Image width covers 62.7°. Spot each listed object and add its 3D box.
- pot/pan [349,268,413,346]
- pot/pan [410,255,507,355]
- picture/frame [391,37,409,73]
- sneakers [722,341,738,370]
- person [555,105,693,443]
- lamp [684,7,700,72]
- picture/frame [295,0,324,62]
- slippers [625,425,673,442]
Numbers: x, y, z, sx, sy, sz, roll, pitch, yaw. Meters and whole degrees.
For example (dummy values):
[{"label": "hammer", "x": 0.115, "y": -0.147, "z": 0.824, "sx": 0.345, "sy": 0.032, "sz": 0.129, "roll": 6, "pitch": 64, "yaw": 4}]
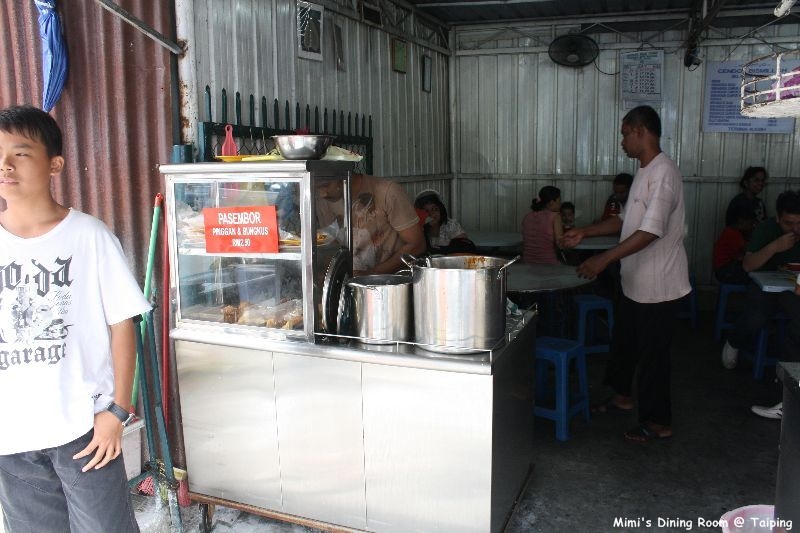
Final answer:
[{"label": "pot/pan", "x": -0.078, "y": 0.198, "z": 3.718, "sx": 0.305, "sy": 0.352, "sz": 0.506, "roll": 1, "pitch": 6, "yaw": 25}, {"label": "pot/pan", "x": 0.311, "y": 0.198, "z": 3.459, "sx": 0.506, "sy": 0.382, "sz": 0.502, "roll": 0, "pitch": 2, "yaw": 4}, {"label": "picture/frame", "x": -0.006, "y": -2.164, "z": 6.725, "sx": 0.057, "sy": 0.316, "sz": 0.440, "roll": -1, "pitch": 3, "yaw": 21}, {"label": "sneakers", "x": 2.926, "y": 0.779, "z": 5.818, "sx": 0.106, "sy": 0.280, "sz": 0.114, "roll": 2, "pitch": 10, "yaw": 22}, {"label": "person", "x": 1.689, "y": 0.059, "z": 4.693, "sx": 0.708, "sy": 2.345, "sz": 0.734, "roll": 1, "pitch": 6, "yaw": 19}, {"label": "lamp", "x": 3.242, "y": -2.548, "z": 7.289, "sx": 0.138, "sy": 0.599, "sz": 0.179, "roll": 7, "pitch": 2, "yaw": 10}, {"label": "picture/frame", "x": -0.709, "y": -1.859, "z": 5.215, "sx": 0.048, "sy": 0.445, "sz": 0.337, "roll": 1, "pitch": 7, "yaw": 25}, {"label": "slippers", "x": 1.793, "y": 1.170, "z": 4.713, "sx": 0.247, "sy": 0.100, "sz": 0.139, "roll": 1, "pitch": 4, "yaw": 1}]
